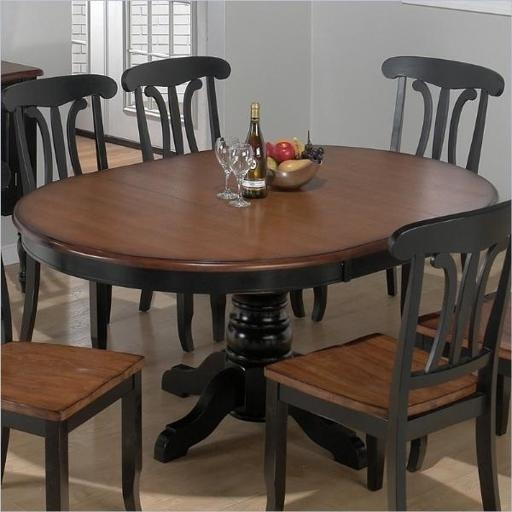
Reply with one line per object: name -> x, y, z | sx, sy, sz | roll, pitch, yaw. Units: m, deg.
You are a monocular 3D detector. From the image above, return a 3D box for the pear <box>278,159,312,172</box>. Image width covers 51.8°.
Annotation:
pear -> 0.118, -0.287, 1.652 | 0.097, 0.043, 0.042 | -17, 15, 1

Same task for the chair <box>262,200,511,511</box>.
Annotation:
chair -> 0.283, 0.230, 1.134 | 0.451, 0.759, 0.402 | -15, 25, -36

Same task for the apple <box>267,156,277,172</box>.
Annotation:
apple -> 0.048, -0.290, 1.652 | 0.038, 0.039, 0.039 | -20, 15, -18

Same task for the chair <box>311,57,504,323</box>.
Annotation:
chair -> 0.754, -0.555, 2.533 | 0.646, 0.986, 0.623 | 14, 27, 34

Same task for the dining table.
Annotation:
dining table -> 0.014, 0.200, 1.621 | 0.681, 0.527, 1.056 | 11, -12, -18
